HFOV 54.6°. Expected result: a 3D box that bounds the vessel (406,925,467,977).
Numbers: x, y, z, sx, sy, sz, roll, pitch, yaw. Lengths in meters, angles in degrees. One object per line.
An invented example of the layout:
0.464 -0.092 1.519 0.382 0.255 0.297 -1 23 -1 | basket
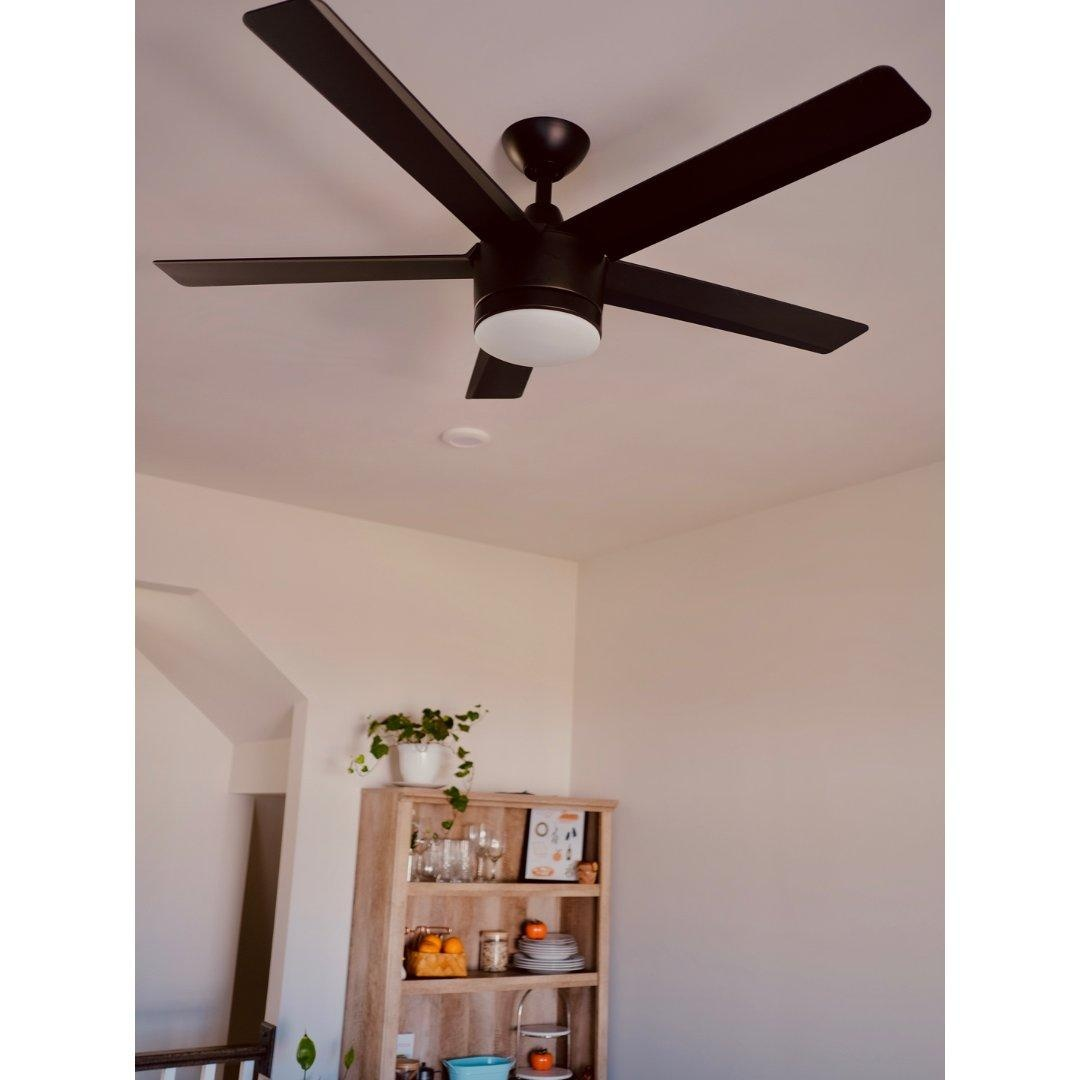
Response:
-0.322 1.247 3.169 0.188 0.099 0.167 12 -27 -22 | vessel

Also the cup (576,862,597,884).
0.152 1.070 3.350 0.077 0.057 0.065 3 -23 3 | cup

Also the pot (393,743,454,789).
-0.387 0.722 3.272 0.201 0.108 0.187 0 -15 0 | pot

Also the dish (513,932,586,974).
0.014 1.308 3.344 0.171 0.050 0.148 4 -13 -8 | dish

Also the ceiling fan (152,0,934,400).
0.044 -0.371 1.281 0.634 0.159 0.546 2 -8 -4 | ceiling fan

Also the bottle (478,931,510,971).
-0.161 1.305 3.315 0.138 0.118 0.120 5 -15 -14 | bottle
